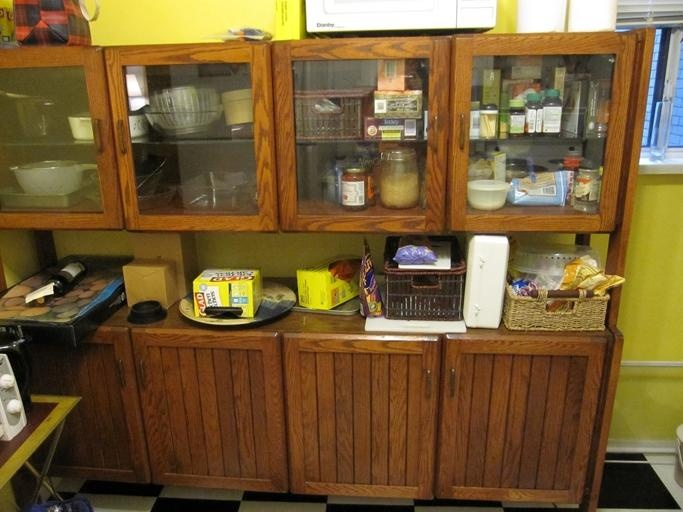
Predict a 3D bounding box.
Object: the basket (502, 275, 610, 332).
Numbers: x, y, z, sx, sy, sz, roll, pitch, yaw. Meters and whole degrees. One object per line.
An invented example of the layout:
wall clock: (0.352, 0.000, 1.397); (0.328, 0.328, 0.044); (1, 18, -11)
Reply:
basket: (0.824, 0.182, 2.224); (0.282, 0.092, 0.241); (1, 10, 3)

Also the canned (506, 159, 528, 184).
canned: (0.678, -0.337, 2.221); (0.090, 0.049, 0.074); (-2, 18, 1)

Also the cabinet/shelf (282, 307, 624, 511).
cabinet/shelf: (0.432, 0.587, 2.302); (1.127, 0.525, 0.370); (2, 8, 1)

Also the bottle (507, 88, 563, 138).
bottle: (0.724, -0.539, 2.142); (0.192, 0.170, 0.045); (1, 24, 10)

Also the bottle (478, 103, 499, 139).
bottle: (0.557, -0.505, 2.152); (0.082, 0.130, 0.015); (-10, 24, -14)

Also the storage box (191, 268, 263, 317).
storage box: (-0.484, 0.152, 2.396); (0.263, 0.160, 0.191); (0, 20, 8)

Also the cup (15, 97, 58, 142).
cup: (-1.211, -0.563, 2.374); (0.230, 0.167, 0.149); (1, 8, 0)

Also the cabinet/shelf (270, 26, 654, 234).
cabinet/shelf: (0.450, -0.491, 2.138); (1.086, 0.461, 0.234); (0, 16, 3)

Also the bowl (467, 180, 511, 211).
bowl: (0.552, -0.231, 2.193); (0.167, 0.063, 0.119); (0, 12, 2)

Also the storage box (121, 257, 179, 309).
storage box: (-0.844, 0.118, 2.514); (0.196, 0.191, 0.136); (1, 22, 11)

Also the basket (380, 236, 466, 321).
basket: (0.319, 0.097, 2.415); (0.424, 0.229, 0.352); (1, 19, 1)
